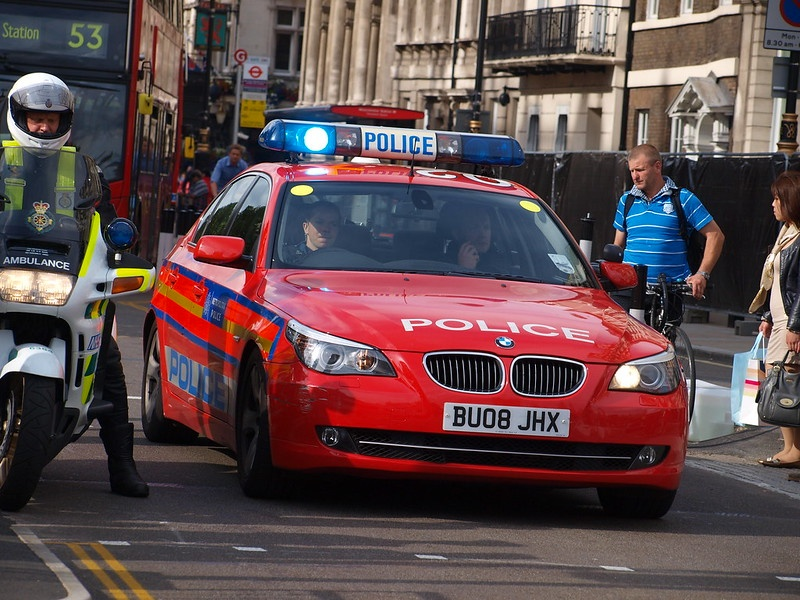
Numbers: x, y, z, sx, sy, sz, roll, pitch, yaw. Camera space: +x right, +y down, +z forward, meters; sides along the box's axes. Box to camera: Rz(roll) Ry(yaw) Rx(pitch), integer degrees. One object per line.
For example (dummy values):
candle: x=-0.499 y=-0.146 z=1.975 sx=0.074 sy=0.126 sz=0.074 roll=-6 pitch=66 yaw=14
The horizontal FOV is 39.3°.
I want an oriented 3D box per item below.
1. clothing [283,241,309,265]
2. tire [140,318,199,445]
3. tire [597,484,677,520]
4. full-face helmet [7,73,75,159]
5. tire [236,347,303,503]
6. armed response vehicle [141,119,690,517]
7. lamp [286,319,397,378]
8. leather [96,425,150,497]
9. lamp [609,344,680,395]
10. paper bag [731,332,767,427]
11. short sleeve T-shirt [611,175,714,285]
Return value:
clothing: x=-0.615 y=-0.273 z=6.603 sx=0.128 sy=0.069 sz=0.178 roll=2 pitch=5 yaw=3
tire: x=-1.679 y=0.560 z=8.105 sx=0.321 sy=0.958 sz=0.941 roll=0 pitch=-2 yaw=-17
tire: x=1.286 y=1.112 z=6.035 sx=0.275 sy=0.126 sz=0.337 roll=1 pitch=1 yaw=8
full-face helmet: x=-1.766 y=-0.929 z=5.523 sx=0.297 sy=0.403 sz=0.275 roll=3 pitch=2 yaw=-18
tire: x=-0.703 y=0.671 z=6.038 sx=0.300 sy=0.802 sz=0.522 roll=3 pitch=2 yaw=-15
armed response vehicle: x=-0.173 y=-0.089 z=7.246 sx=1.880 sy=1.576 sz=3.747 roll=3 pitch=-2 yaw=-17
lamp: x=-0.311 y=0.255 z=5.619 sx=0.606 sy=0.173 sz=0.149 roll=5 pitch=2 yaw=30
leather: x=-1.464 y=0.867 z=6.030 sx=0.148 sy=0.375 sz=0.382 roll=-2 pitch=2 yaw=-41
lamp: x=1.274 y=0.396 z=5.856 sx=0.322 sy=0.234 sz=0.096 roll=-6 pitch=1 yaw=-36
paper bag: x=3.236 y=0.700 z=10.118 sx=0.269 sy=0.782 sz=0.570 roll=6 pitch=8 yaw=42
short sleeve T-shirt: x=2.281 y=-0.629 z=10.025 sx=0.905 sy=0.870 sz=0.493 roll=3 pitch=9 yaw=35
